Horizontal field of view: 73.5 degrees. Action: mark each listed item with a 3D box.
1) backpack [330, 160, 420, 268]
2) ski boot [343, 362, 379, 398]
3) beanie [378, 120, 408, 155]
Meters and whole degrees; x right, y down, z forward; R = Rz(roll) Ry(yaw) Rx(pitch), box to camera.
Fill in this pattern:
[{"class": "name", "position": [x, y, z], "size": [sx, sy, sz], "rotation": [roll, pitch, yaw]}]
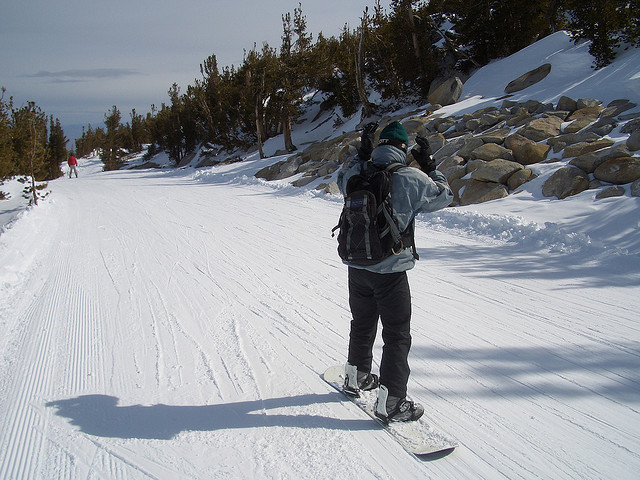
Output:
[{"class": "backpack", "position": [0.491, -0.273, 4.238], "size": [0.665, 1.019, 0.438], "rotation": [-2, 11, 9]}, {"class": "ski boot", "position": [0.480, 1.467, 4.675], "size": [0.535, 0.361, 0.198], "rotation": [0, 4, -40]}, {"class": "beanie", "position": [0.777, -1.159, 4.522], "size": [0.298, 0.280, 0.422], "rotation": [5, 1, -2]}]
